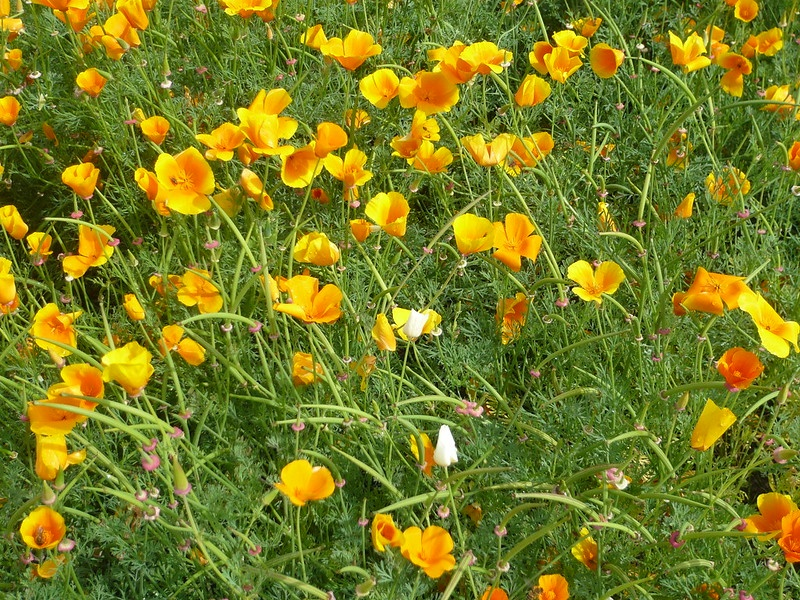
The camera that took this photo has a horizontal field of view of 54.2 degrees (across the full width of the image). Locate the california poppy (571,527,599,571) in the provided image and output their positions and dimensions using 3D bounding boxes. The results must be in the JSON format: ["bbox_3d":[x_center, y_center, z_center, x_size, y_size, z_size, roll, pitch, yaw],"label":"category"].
[{"bbox_3d":[0.530,0.731,2.257,0.069,0.098,0.078,5,54,-2],"label":"california poppy"}]

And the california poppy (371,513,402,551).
[{"bbox_3d":[-0.040,0.587,1.970,0.084,0.060,0.115,-2,88,0],"label":"california poppy"}]
